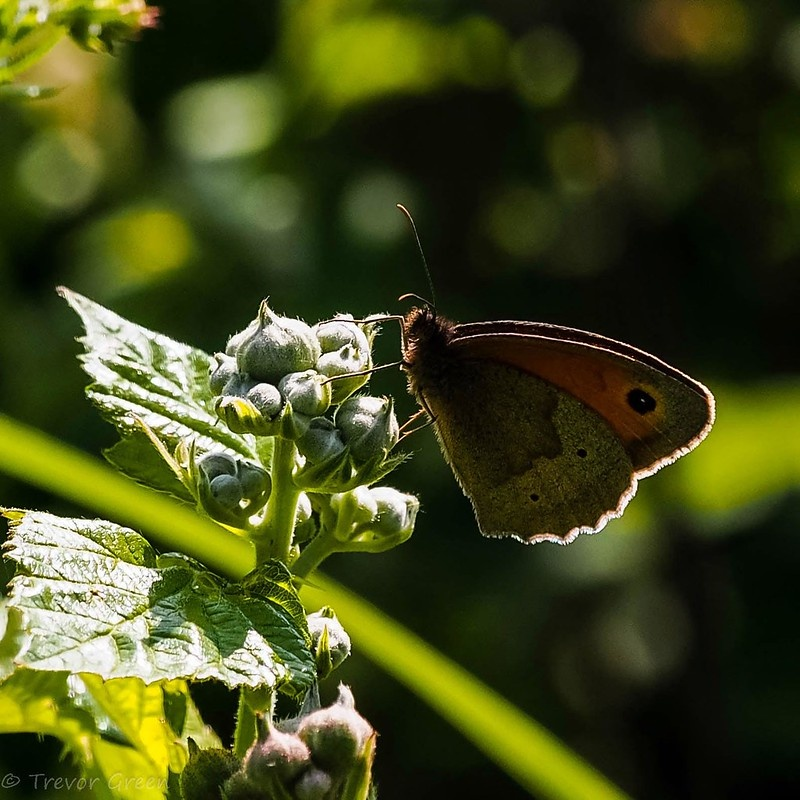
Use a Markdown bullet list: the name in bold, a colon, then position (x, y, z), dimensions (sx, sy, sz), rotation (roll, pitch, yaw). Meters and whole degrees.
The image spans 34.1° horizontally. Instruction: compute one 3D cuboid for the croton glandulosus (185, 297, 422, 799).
- **croton glandulosus**: position (-0.257, 0.272, 3.408), dimensions (0.548, 0.666, 1.409), rotation (-5, 101, 2)
